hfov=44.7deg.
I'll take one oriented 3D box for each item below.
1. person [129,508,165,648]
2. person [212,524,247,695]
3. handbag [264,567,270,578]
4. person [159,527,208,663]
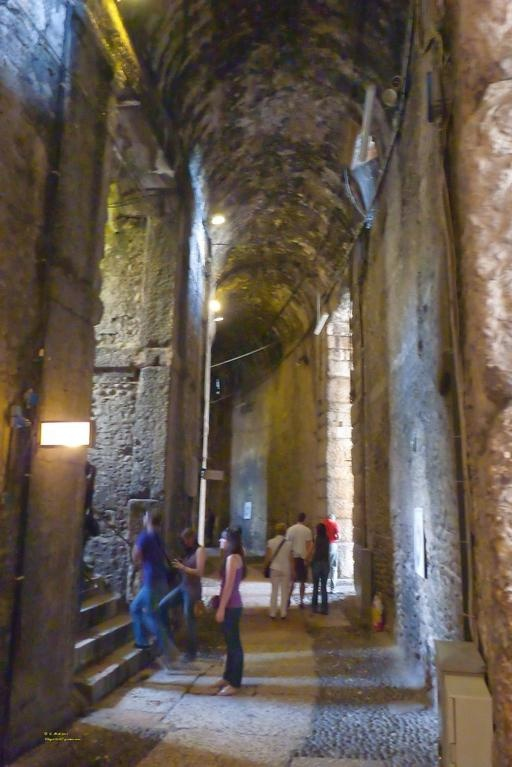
[{"bbox_3d":[-0.802,1.519,4.744,0.233,1.032,0.438,0,-11,-2],"label":"person"},{"bbox_3d":[-0.175,1.502,4.168,0.193,1.017,0.418,1,-11,-4],"label":"person"},{"bbox_3d":[0.124,2.011,6.660,0.057,0.113,0.116,0,-11,1],"label":"handbag"},{"bbox_3d":[-0.605,1.704,5.121,0.313,1.023,1.123,1,-12,-6],"label":"person"}]
